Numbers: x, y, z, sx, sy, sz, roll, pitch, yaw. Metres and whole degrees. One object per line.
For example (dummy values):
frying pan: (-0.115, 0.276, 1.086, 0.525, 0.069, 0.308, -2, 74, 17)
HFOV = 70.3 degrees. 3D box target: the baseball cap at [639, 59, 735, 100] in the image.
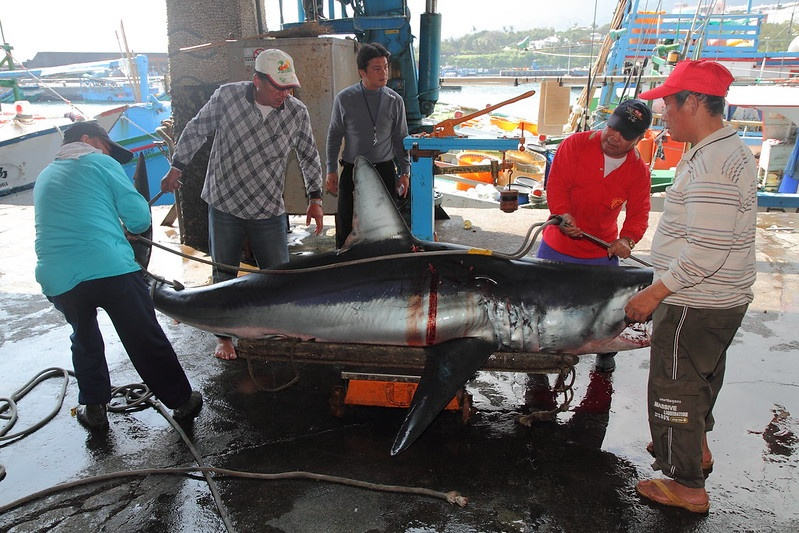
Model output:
baseball cap: (1.824, -1.174, 3.572, 0.441, 0.198, 0.267, 10, 19, 22)

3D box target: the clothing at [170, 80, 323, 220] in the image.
clothing: (-1.232, -1.098, 5.043, 1.450, 1.118, 0.549, -2, 17, -39)

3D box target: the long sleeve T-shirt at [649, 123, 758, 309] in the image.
long sleeve T-shirt: (1.935, -0.295, 3.545, 0.621, 1.098, 0.473, 11, 24, 30)

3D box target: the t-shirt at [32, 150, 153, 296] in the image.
t-shirt: (-2.260, -0.345, 4.133, 0.816, 1.048, 0.545, -10, 23, -21)

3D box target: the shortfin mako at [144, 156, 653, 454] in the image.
shortfin mako: (-0.223, 0.209, 4.337, 4.540, 1.520, 1.416, 2, 12, 0)

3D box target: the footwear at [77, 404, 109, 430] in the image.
footwear: (-2.373, 1.120, 4.400, 0.318, 0.139, 0.133, 20, 23, 34)

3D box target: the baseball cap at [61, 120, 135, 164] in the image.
baseball cap: (-2.316, -0.964, 4.360, 0.562, 0.266, 0.339, -1, 10, -37)

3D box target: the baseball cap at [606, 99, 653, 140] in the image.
baseball cap: (1.845, -1.182, 4.480, 0.249, 0.199, 0.371, 38, 38, 13)

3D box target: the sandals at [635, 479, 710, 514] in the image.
sandals: (1.796, 1.497, 3.729, 0.373, 0.126, 0.204, 7, 9, 24)

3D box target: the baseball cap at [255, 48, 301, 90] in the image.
baseball cap: (-0.957, -1.626, 4.630, 0.407, 0.199, 0.260, 29, 42, 18)

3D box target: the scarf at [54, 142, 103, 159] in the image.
scarf: (-2.372, -0.843, 4.144, 0.230, 0.095, 0.152, -7, 5, -26)
